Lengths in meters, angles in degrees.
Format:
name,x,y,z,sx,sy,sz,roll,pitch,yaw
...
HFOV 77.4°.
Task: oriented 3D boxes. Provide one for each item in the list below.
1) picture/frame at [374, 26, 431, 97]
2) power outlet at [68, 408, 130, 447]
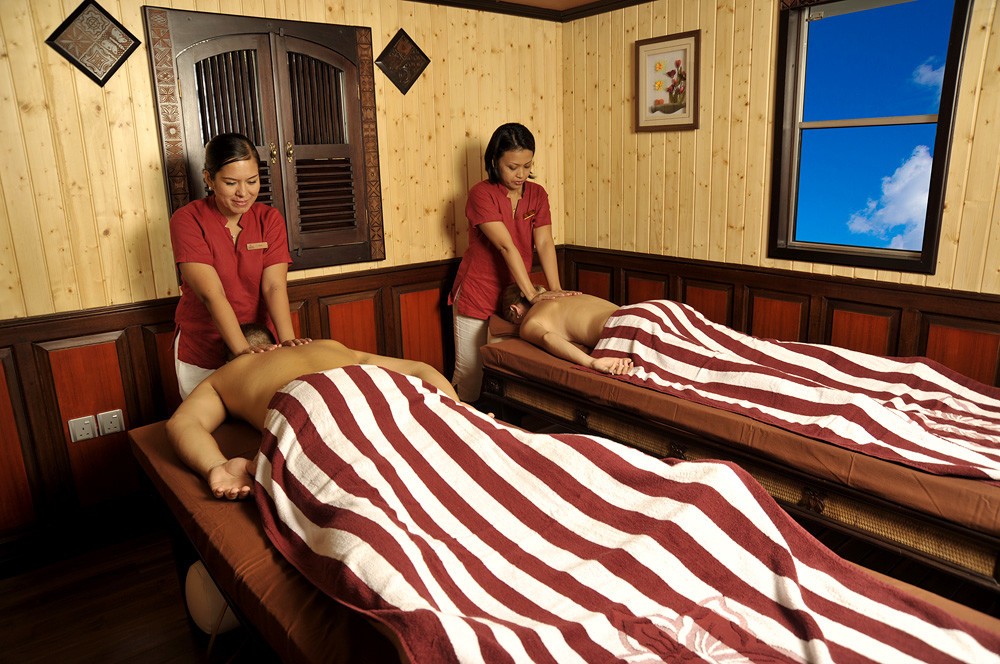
name,x,y,z,sx,sy,sz,roll,pitch,yaw
picture/frame,-0.648,-1.814,4.189,0.050,0.366,0.369,21,71,51
power outlet,-2.204,0.512,3.431,0.262,0.140,0.022,-12,18,-33
